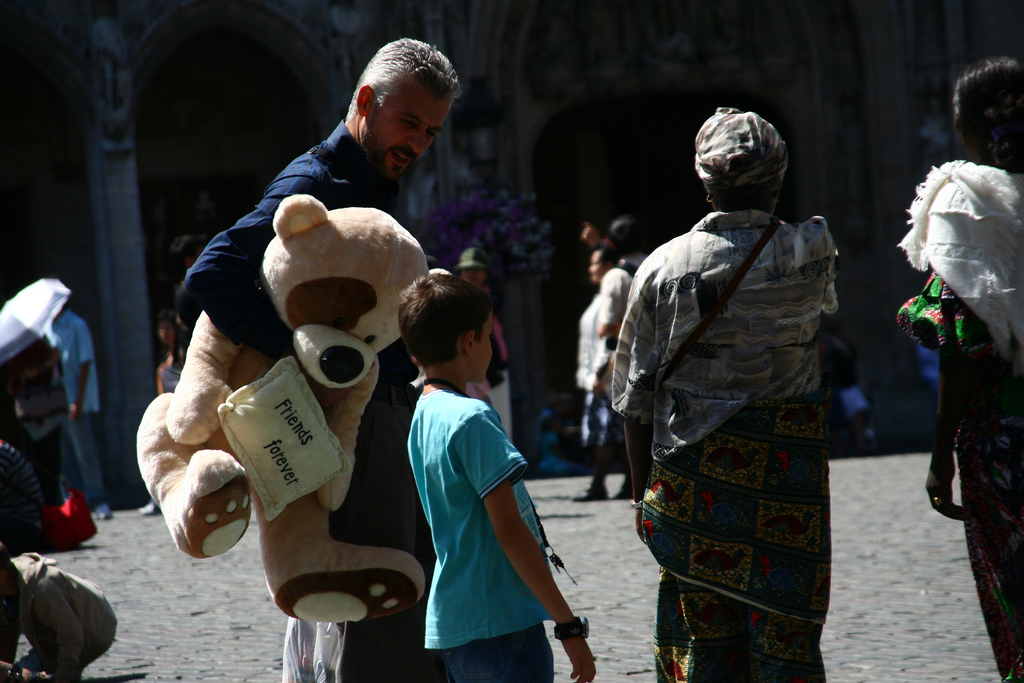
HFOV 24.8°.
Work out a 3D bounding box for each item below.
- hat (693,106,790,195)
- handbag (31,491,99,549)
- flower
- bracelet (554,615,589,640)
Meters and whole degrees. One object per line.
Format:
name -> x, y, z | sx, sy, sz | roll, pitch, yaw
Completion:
hat -> 1.516, -1.308, 15.855 | 0.613, 0.504, 0.528 | -18, -16, -30
handbag -> -3.802, 1.552, 19.896 | 0.474, 0.472, 0.253 | -11, 7, -39
flower -> -0.282, -1.005, 25.042 | 1.164, 1.204, 1.183 | -3, -4, 43
bracelet -> 0.383, 1.909, 15.454 | 0.193, 0.099, 0.146 | -5, -4, -4
